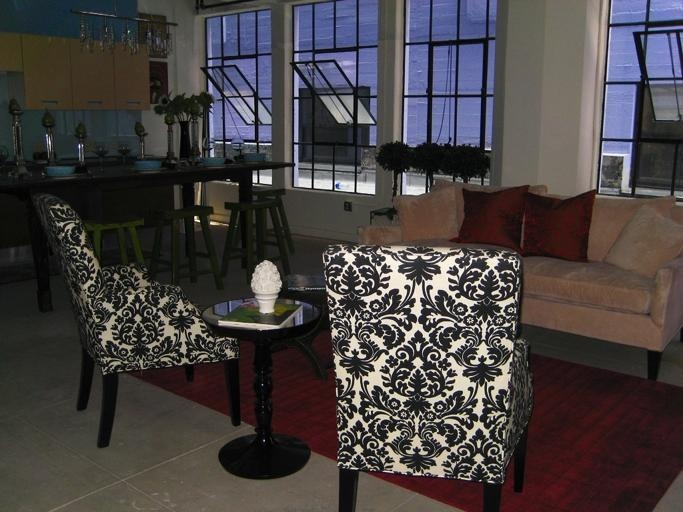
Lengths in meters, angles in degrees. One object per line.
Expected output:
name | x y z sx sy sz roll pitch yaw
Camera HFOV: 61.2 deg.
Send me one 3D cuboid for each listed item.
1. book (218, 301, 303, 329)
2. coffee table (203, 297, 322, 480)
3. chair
book | -0.399 0.282 2.940 0.350 0.045 0.428 -1 15 10
coffee table | -0.423 0.622 3.117 0.731 0.937 0.734 -3 9 -19
chair | -1.232 0.150 3.791 1.322 1.932 1.102 -6 14 -25
